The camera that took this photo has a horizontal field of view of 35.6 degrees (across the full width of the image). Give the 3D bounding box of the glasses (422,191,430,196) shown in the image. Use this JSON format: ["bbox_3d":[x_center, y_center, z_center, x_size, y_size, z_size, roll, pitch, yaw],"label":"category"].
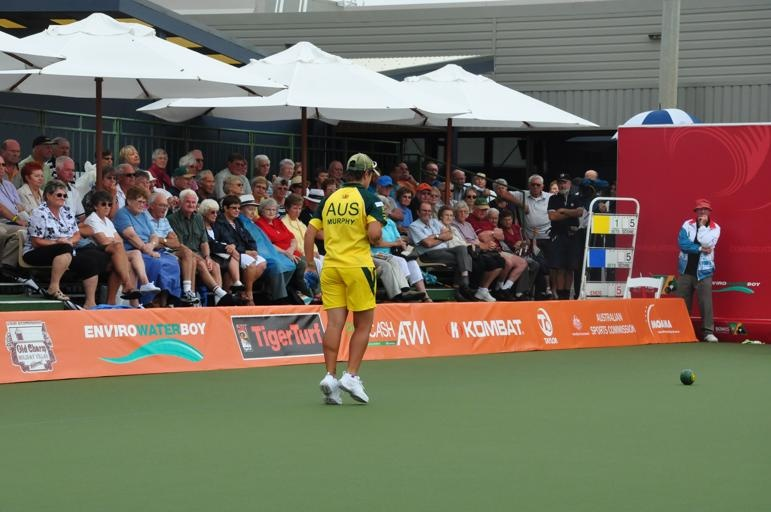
[{"bbox_3d":[0.750,-1.174,22.353,0.084,0.062,0.137,2,0,-4],"label":"glasses"}]

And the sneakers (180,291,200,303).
[{"bbox_3d":[-2.979,0.652,18.490,0.134,0.238,0.322,3,7,39],"label":"sneakers"}]

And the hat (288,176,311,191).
[{"bbox_3d":[-1.541,-1.278,21.084,0.299,0.203,0.379,4,-9,-29],"label":"hat"}]

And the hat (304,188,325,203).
[{"bbox_3d":[-1.264,-1.061,20.898,0.388,0.165,0.425,3,10,-36],"label":"hat"}]

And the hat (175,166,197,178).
[{"bbox_3d":[-3.372,-1.398,20.081,0.278,0.113,0.201,4,4,22],"label":"hat"}]

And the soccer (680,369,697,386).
[{"bbox_3d":[4.281,1.728,16.979,0.210,0.233,0.203,24,-19,10],"label":"soccer"}]

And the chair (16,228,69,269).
[{"bbox_3d":[-5.066,-0.068,17.492,0.579,0.563,0.642,-1,1,-7],"label":"chair"}]

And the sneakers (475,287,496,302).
[{"bbox_3d":[1.771,0.684,21.297,0.290,0.245,0.574,1,6,22],"label":"sneakers"}]

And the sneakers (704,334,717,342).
[{"bbox_3d":[5.850,1.495,21.717,0.114,0.093,0.217,1,-5,-33],"label":"sneakers"}]

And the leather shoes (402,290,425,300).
[{"bbox_3d":[0.445,0.655,19.913,0.423,0.153,0.169,-1,34,-7],"label":"leather shoes"}]

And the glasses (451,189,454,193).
[{"bbox_3d":[1.416,-1.368,25.348,0.056,0.056,0.029,-2,27,6],"label":"glasses"}]

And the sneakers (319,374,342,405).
[{"bbox_3d":[-0.713,1.694,15.259,0.186,0.220,0.453,-7,-38,12],"label":"sneakers"}]

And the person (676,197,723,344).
[{"bbox_3d":[5.597,0.289,21.625,0.693,2.538,0.450,0,5,14],"label":"person"}]

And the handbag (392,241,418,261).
[{"bbox_3d":[0.331,-0.079,20.561,0.369,0.316,1.088,0,5,7],"label":"handbag"}]

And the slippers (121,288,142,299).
[{"bbox_3d":[-3.720,0.564,17.623,0.265,0.108,0.138,-10,-12,37],"label":"slippers"}]

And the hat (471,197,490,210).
[{"bbox_3d":[1.783,-0.977,22.232,0.242,0.124,0.176,-8,8,-24],"label":"hat"}]

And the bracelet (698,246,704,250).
[{"bbox_3d":[5.606,-0.139,21.381,0.056,0.056,0.055,6,-7,-31],"label":"bracelet"}]

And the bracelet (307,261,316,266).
[{"bbox_3d":[-0.994,0.102,15.809,0.068,0.053,0.071,3,1,15],"label":"bracelet"}]

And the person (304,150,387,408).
[{"bbox_3d":[-0.493,0.279,15.766,1.183,3.226,0.959,-2,-13,17],"label":"person"}]

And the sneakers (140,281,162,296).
[{"bbox_3d":[-3.474,0.469,17.758,0.326,0.150,0.134,-5,-6,35],"label":"sneakers"}]
